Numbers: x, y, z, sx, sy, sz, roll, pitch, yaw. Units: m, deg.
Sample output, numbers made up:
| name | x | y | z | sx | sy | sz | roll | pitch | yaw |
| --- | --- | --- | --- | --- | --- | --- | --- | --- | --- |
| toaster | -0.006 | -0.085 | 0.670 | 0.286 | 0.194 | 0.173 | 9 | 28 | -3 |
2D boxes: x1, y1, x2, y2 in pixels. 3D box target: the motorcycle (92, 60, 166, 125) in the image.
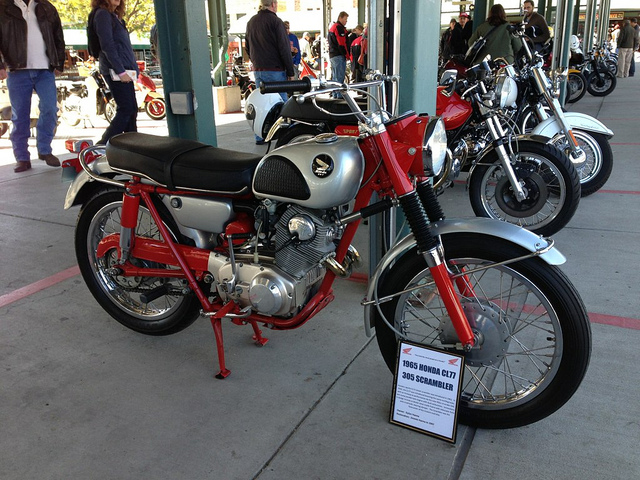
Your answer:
| name | x | y | z | sx | sy | sz | roll | pitch | yaw |
| --- | --- | --- | --- | --- | --- | --- | --- | --- | --- |
| motorcycle | -4.320 | -3.351 | 10.782 | 1.634 | 1.255 | 0.838 | 0 | 10 | -2 |

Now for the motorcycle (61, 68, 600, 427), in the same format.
| name | x | y | z | sx | sy | sz | roll | pitch | yaw |
| --- | --- | --- | --- | --- | --- | --- | --- | --- | --- |
| motorcycle | -0.161 | -0.051 | 2.553 | 2.937 | 1.708 | 1.071 | 10 | 21 | 17 |
